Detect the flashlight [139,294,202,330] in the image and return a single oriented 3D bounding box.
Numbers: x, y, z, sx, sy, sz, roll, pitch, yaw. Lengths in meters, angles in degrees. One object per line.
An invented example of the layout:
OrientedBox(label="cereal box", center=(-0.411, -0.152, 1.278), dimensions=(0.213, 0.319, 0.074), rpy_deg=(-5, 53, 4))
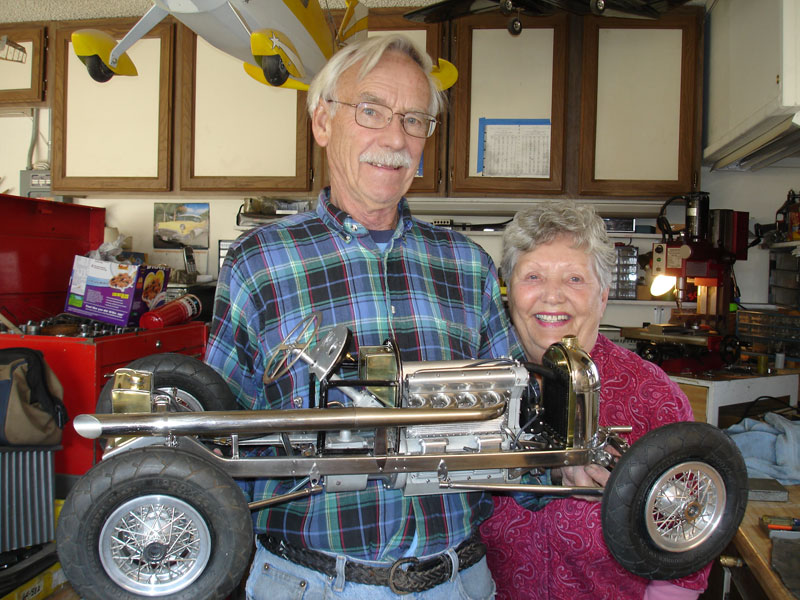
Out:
OrientedBox(label="flashlight", center=(-1.047, 0.052, 3.148), dimensions=(0.098, 0.166, 0.355), rpy_deg=(1, -2, 19))

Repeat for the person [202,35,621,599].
OrientedBox(label="person", center=(-0.042, 0.028, 1.614), dimensions=(0.789, 1.339, 0.361), rpy_deg=(2, -1, -17))
